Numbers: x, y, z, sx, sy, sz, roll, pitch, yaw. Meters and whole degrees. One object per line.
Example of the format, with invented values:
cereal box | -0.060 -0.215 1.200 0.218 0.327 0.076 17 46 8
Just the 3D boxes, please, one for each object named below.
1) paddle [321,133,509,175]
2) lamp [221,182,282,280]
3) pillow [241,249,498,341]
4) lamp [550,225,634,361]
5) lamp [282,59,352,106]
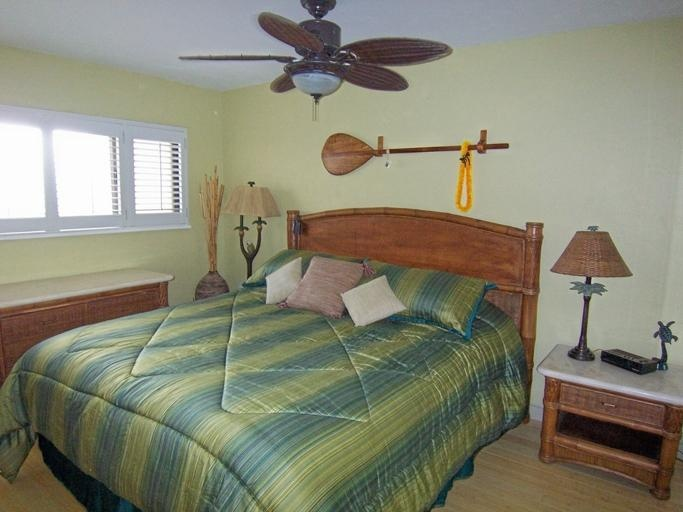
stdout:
paddle | 0.447 -0.893 4.410 1.520 0.380 0.117 4 11 34
lamp | -0.897 -0.146 5.137 0.633 1.090 0.663 3 3 41
pillow | 0.129 0.234 4.097 1.977 0.458 0.517 4 10 30
lamp | 1.733 0.249 3.535 0.511 0.899 0.433 -8 11 -37
lamp | -0.137 -0.927 2.857 0.350 0.144 0.341 2 -1 -38
